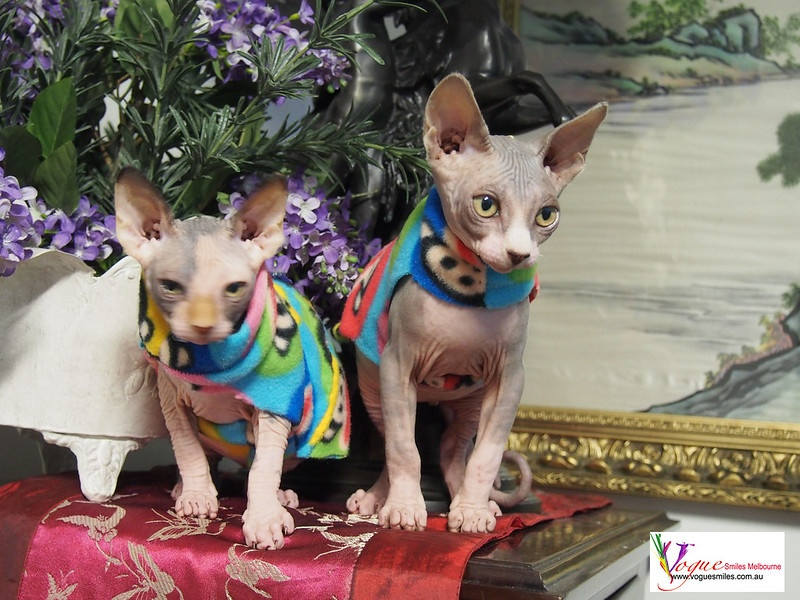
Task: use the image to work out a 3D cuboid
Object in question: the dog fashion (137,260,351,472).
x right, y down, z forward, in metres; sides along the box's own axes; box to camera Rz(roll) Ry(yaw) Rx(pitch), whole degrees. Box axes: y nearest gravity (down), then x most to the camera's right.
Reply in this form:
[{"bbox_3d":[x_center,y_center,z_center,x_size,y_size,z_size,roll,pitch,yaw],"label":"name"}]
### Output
[{"bbox_3d":[-0.230,0.085,1.655,0.268,0.358,0.362,-2,2,33],"label":"dog fashion"}]
